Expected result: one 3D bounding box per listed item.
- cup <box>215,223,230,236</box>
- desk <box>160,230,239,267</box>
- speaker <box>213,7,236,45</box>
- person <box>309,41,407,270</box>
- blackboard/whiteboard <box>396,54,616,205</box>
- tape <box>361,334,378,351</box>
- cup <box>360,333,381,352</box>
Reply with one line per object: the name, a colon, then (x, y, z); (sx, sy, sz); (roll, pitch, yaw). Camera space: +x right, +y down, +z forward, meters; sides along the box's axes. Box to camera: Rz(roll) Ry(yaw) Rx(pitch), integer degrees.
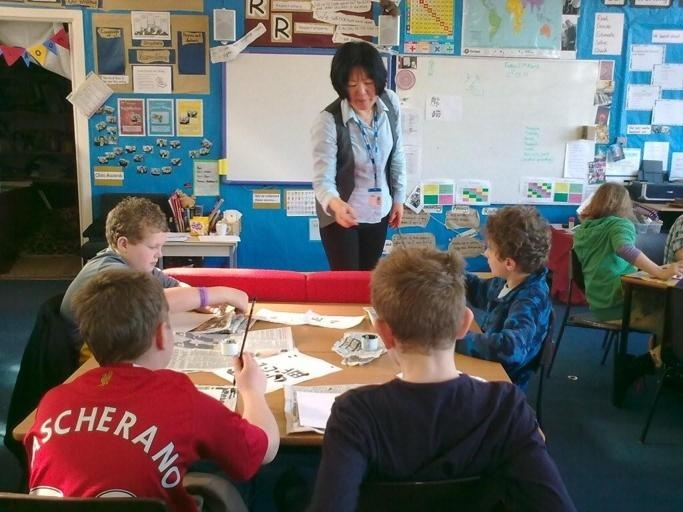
cup: (-1.010, -0.233, 4.852); (0.077, 0.088, 0.120); (-2, -3, 27)
desk: (-1.141, -0.085, 4.665); (0.456, 0.419, 0.318); (0, 8, 1)
speaker: (-0.978, -1.950, 4.787); (0.249, 0.336, 0.180); (-1, 13, -1)
person: (0.131, -0.505, 3.100); (0.628, 1.221, 0.376); (-11, 19, -40)
blackboard/whiteboard: (1.423, -1.186, 5.056); (1.666, 1.176, 0.026); (0, 16, -2)
tape: (0.112, 0.332, 2.207); (0.055, 0.041, 0.055); (0, 1, 21)
cup: (0.110, 0.335, 2.215); (0.059, 0.044, 0.060); (0, 2, 0)
